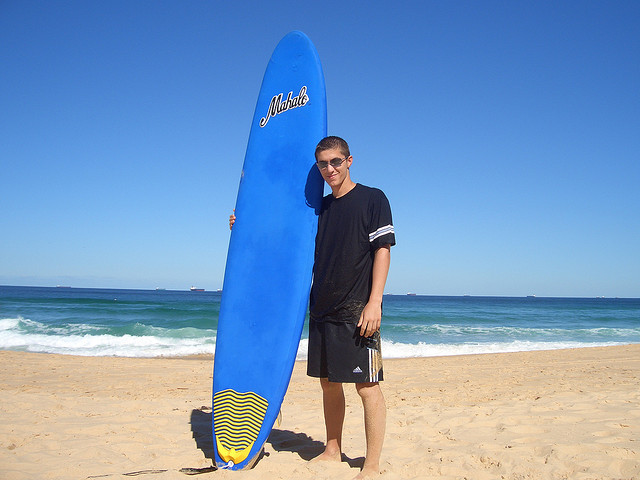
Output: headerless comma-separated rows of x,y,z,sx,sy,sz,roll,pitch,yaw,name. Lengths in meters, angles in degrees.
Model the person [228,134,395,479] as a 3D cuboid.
0.235,0.539,4.171,0.664,2.723,0.616,3,-8,1,person
